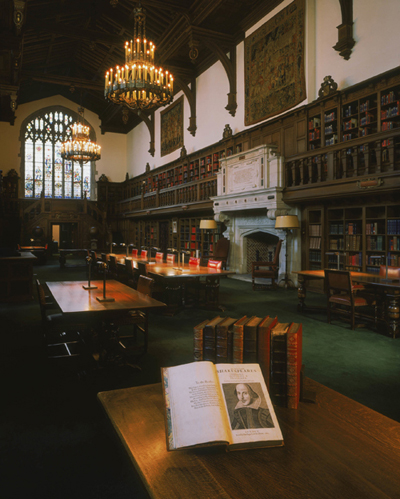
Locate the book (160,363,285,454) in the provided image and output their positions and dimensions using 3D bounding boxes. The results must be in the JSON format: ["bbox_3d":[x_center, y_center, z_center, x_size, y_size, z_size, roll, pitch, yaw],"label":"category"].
[{"bbox_3d":[0.058,0.454,1.229,0.319,0.187,0.257,-1,3,-10],"label":"book"}]
